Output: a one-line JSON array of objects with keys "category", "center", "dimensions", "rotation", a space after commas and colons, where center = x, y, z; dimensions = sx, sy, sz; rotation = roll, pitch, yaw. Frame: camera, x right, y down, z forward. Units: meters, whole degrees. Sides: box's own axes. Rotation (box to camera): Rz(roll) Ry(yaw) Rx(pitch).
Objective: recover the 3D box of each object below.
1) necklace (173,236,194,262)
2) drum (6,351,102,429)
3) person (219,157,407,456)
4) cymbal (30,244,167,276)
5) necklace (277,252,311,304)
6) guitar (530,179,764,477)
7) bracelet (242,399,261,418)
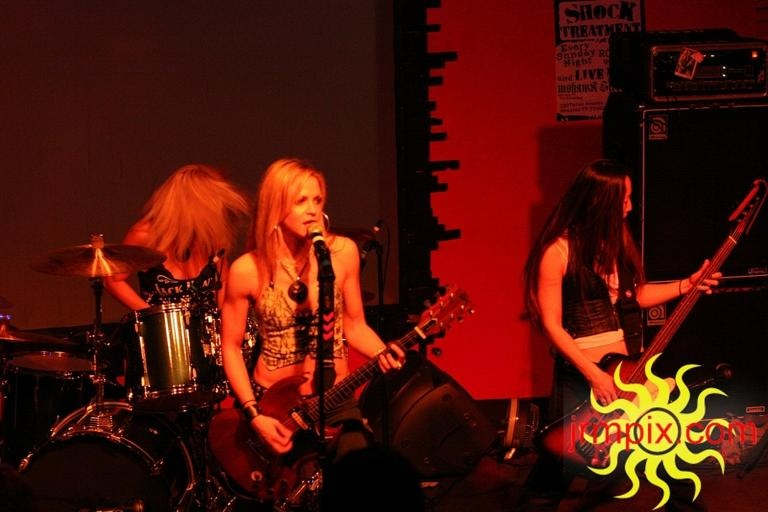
[{"category": "necklace", "center": [-1.354, -0.043, 4.794], "dimensions": [0.129, 0.148, 0.144], "rotation": [0, 7, 4]}, {"category": "drum", "center": [-2.139, 0.757, 4.655], "dimensions": [0.576, 0.563, 0.571], "rotation": [5, 20, -18]}, {"category": "person", "center": [-0.458, 0.294, 4.038], "dimensions": [0.954, 1.626, 0.722], "rotation": [-3, -22, -9]}, {"category": "cymbal", "center": [-1.752, 0.024, 4.384], "dimensions": [0.347, 0.086, 0.353], "rotation": [8, 21, 19]}, {"category": "necklace", "center": [-0.497, 0.137, 4.114], "dimensions": [0.115, 0.289, 0.035], "rotation": [-8, -28, 9]}, {"category": "guitar", "center": [1.687, 0.430, 4.510], "dimensions": [0.808, 2.653, 0.325], "rotation": [43, -7, -34]}, {"category": "bracelet", "center": [-0.735, 0.850, 3.967], "dimensions": [0.093, 0.097, 0.088], "rotation": [-9, 27, -25]}]
